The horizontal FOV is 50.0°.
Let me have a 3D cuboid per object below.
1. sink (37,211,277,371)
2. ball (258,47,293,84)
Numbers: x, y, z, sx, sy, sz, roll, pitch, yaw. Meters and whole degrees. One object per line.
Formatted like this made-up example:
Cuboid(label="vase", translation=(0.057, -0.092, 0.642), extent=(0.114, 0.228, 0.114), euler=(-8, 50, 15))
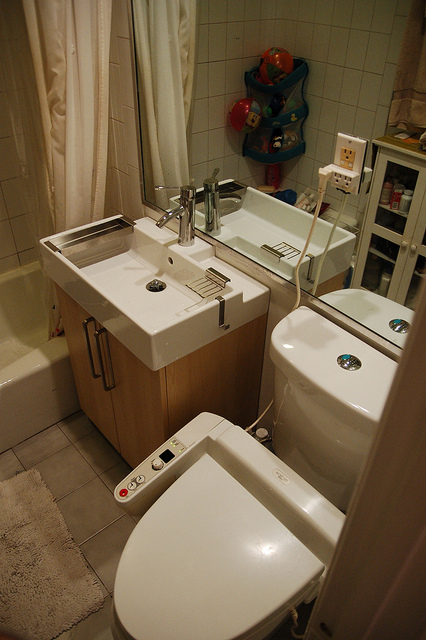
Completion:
Cuboid(label="sink", translation=(-0.217, -0.141, 1.526), extent=(0.456, 0.199, 0.668), euler=(-24, 44, -36))
Cuboid(label="ball", translation=(0.158, -0.652, 1.167), extent=(0.058, 0.089, 0.075), euler=(13, 48, 14))
